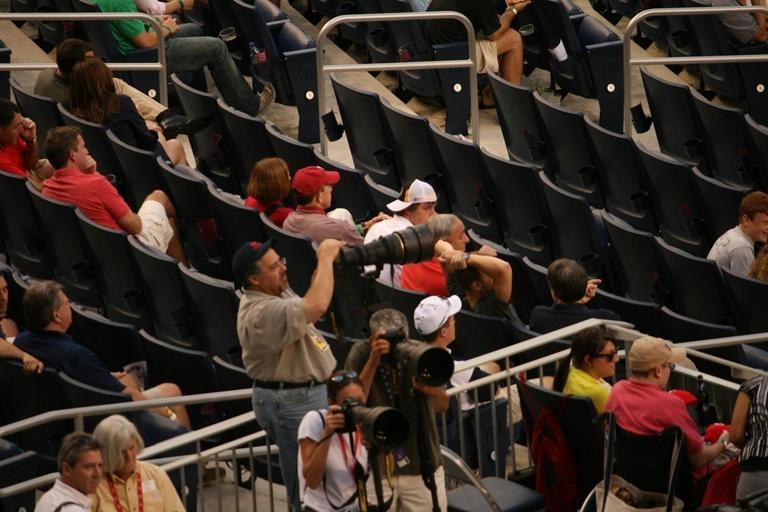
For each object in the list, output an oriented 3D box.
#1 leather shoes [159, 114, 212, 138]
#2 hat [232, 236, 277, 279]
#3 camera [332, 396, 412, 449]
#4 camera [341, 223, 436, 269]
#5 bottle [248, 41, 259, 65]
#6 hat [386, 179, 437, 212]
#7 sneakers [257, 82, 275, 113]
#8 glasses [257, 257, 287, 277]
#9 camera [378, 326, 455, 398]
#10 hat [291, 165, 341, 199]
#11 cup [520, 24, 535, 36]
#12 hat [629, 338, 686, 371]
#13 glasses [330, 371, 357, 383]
[{"bbox_3d":[-1.721,-1.156,8.532,0.546,0.189,0.216,-8,40,-20],"label":"leather shoes"},{"bbox_3d":[-0.693,-0.019,5.207,0.253,0.125,0.186,-55,13,-25],"label":"hat"},{"bbox_3d":[-0.087,0.755,4.461,0.339,0.166,0.213,7,11,44],"label":"camera"},{"bbox_3d":[0.019,-0.051,4.763,0.470,0.190,0.188,-12,21,-27],"label":"camera"},{"bbox_3d":[-1.326,-2.055,9.836,0.072,0.215,0.150,-10,2,-5],"label":"bottle"},{"bbox_3d":[0.180,-0.455,7.190,0.407,0.232,0.270,-6,2,5],"label":"hat"},{"bbox_3d":[-1.204,-1.606,9.897,0.130,0.162,0.378,15,56,-4],"label":"sneakers"},{"bbox_3d":[-0.605,0.044,5.192,0.121,0.123,0.092,-20,37,10],"label":"glasses"},{"bbox_3d":[0.126,0.458,4.520,0.249,0.182,0.399,7,6,-41],"label":"camera"},{"bbox_3d":[-0.508,-0.541,7.085,0.316,0.135,0.197,-17,31,-34],"label":"hat"},{"bbox_3d":[1.543,-2.435,10.519,0.144,0.061,0.114,-8,6,45],"label":"cup"},{"bbox_3d":[1.583,0.548,5.654,0.366,0.165,0.228,-3,14,-8],"label":"hat"},{"bbox_3d":[-0.198,0.583,4.669,0.066,0.069,0.020,-1,41,-18],"label":"glasses"}]
